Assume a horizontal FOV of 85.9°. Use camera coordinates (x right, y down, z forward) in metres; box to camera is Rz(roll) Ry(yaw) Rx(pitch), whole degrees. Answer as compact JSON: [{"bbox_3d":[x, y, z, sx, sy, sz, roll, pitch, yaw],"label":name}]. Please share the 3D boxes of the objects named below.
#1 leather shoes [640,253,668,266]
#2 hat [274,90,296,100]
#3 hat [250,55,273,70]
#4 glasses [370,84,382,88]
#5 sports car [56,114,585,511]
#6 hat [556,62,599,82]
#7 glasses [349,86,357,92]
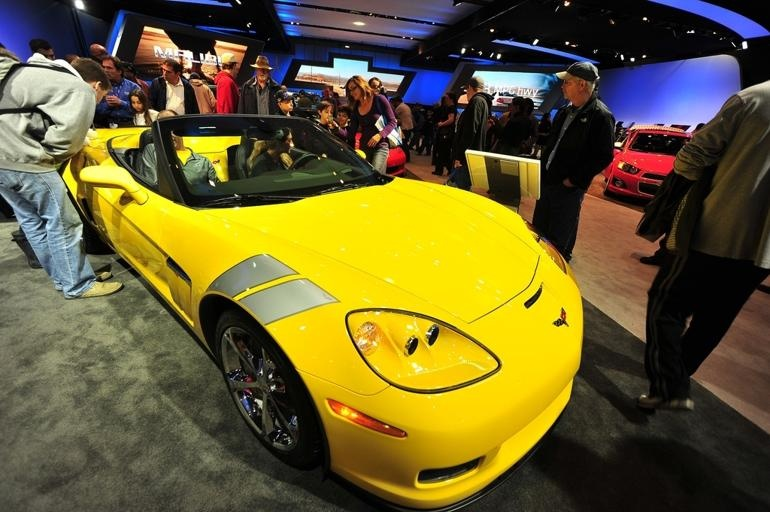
[{"bbox_3d":[3.002,0.035,4.603,0.093,0.111,0.267,-6,14,-23],"label":"leather shoes"},{"bbox_3d":[-1.351,-2.252,5.806,0.174,0.101,0.265,17,23,34],"label":"hat"},{"bbox_3d":[-1.691,-2.633,5.676,0.184,0.172,0.550,-2,24,-19],"label":"hat"},{"bbox_3d":[-0.114,-2.233,5.468,0.149,0.042,0.156,10,27,23],"label":"glasses"},{"bbox_3d":[-0.807,0.223,3.244,4.028,1.210,2.058,25,40,34],"label":"sports car"},{"bbox_3d":[1.779,-1.668,3.872,0.360,0.140,0.231,16,49,23],"label":"hat"},{"bbox_3d":[-0.379,-1.971,4.899,0.064,0.041,0.080,-2,31,-3],"label":"glasses"}]
